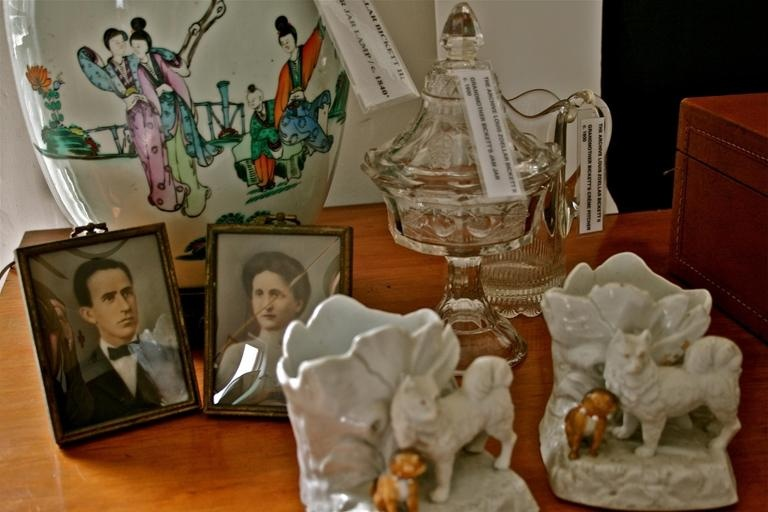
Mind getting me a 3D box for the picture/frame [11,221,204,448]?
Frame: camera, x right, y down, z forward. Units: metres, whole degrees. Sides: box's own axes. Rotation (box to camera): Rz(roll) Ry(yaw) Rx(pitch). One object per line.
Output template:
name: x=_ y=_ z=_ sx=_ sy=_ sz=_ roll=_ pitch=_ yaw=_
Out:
picture/frame: x=-0.311 y=0.094 z=0.761 sx=0.182 sy=0.253 sz=0.043 roll=-15 pitch=-3 yaw=-22
